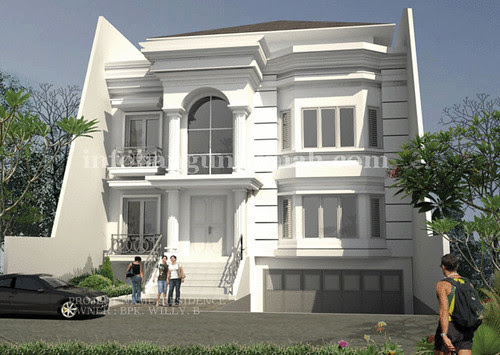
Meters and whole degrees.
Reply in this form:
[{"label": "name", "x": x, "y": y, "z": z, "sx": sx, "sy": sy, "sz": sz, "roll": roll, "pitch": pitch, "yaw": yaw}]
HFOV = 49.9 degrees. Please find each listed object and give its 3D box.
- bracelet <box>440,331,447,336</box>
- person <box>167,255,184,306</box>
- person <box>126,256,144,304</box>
[{"label": "bracelet", "x": 4.546, "y": 3.688, "z": 12.657, "sx": 0.070, "sy": 0.085, "sz": 0.074, "roll": 1, "pitch": -4, "yaw": -3}, {"label": "person", "x": -3.006, "y": 4.118, "z": 21.662, "sx": 0.659, "sy": 1.918, "sz": 1.196, "roll": 0, "pitch": -1, "yaw": -1}, {"label": "person", "x": -4.753, "y": 4.209, "z": 22.116, "sx": 0.596, "sy": 1.915, "sz": 0.962, "roll": 0, "pitch": -1, "yaw": -11}]
